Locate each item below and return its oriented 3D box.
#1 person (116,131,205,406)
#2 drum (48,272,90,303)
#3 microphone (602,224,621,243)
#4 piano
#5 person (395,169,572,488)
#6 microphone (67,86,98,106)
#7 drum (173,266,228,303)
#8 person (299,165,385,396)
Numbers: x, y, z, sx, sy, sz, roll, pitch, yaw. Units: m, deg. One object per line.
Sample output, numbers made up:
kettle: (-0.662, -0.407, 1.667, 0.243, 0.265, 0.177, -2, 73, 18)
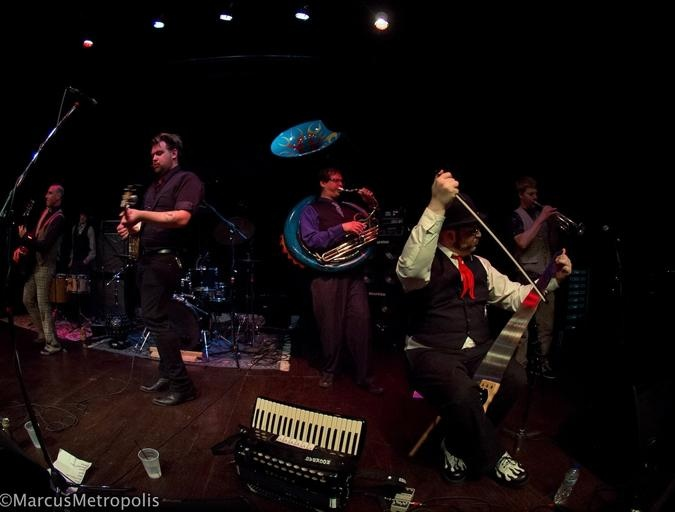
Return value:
person: (-1.687, 0.047, 5.129, 0.789, 2.664, 0.822, 1, 11, -45)
drum: (-3.500, 0.401, 6.853, 0.338, 0.210, 0.433, 1, -3, -42)
microphone: (2.863, -0.246, 5.516, 0.223, 0.196, 0.078, -4, -26, 0)
piano: (-0.276, 1.323, 3.955, 0.966, 0.490, 0.288, 9, -6, 10)
person: (1.075, 0.494, 4.499, 1.243, 2.643, 1.041, 4, 7, 5)
microphone: (-2.163, -1.348, 4.452, 0.220, 0.113, 0.348, 6, 8, -29)
drum: (-1.696, 0.341, 6.631, 0.528, 0.460, 0.526, 4, 6, -38)
person: (0.083, 0.221, 5.577, 1.120, 2.203, 0.566, 15, 9, 31)
